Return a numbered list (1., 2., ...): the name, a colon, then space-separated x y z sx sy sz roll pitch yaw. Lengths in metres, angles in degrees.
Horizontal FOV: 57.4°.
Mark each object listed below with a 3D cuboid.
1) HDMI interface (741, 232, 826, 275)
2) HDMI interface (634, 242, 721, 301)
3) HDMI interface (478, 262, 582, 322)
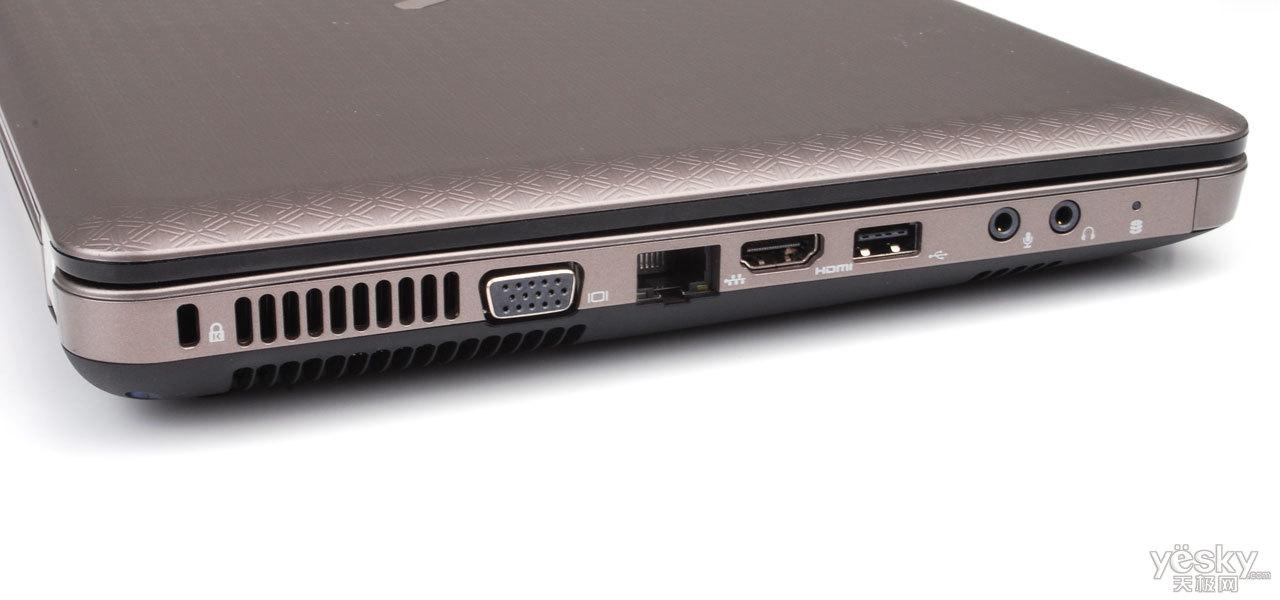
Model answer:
1. HDMI interface: 0.458 -0.146 3.750 0.273 0.107 0.074 -4 -26 0
2. HDMI interface: 0.123 -0.083 3.744 0.266 0.111 0.213 -3 14 -10
3. HDMI interface: -0.316 -0.012 3.601 0.342 0.129 0.052 -6 -18 34
